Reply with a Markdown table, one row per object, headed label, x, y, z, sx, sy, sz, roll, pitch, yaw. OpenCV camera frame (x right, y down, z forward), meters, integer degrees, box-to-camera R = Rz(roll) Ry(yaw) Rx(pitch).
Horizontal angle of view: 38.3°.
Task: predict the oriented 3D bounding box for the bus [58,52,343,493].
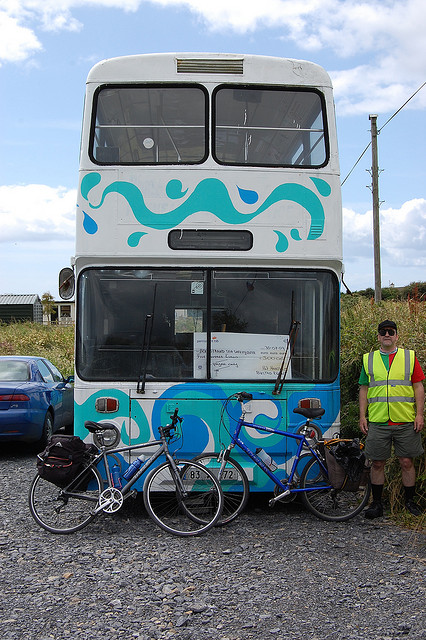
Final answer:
| label | x | y | z | sx | sy | sz | roll | pitch | yaw |
| --- | --- | --- | --- | --- | --- | --- | --- | --- | --- |
| bus | 0.263 | -0.944 | 8.097 | 2.638 | 4.829 | 5.099 | 2 | 13 | 8 |

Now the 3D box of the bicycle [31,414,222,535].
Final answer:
| label | x | y | z | sx | sy | sz | roll | pitch | yaw |
| --- | --- | --- | --- | --- | --- | --- | --- | --- | --- |
| bicycle | -0.751 | 1.336 | 5.315 | 1.663 | 1.082 | 0.811 | 3 | -2 | -6 |

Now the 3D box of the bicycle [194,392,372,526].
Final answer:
| label | x | y | z | sx | sy | sz | roll | pitch | yaw |
| --- | --- | --- | --- | --- | --- | --- | --- | --- | --- |
| bicycle | 0.560 | 1.289 | 5.641 | 1.773 | 1.177 | 0.824 | -1 | 3 | -1 |

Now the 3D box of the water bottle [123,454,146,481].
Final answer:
| label | x | y | z | sx | sy | sz | roll | pitch | yaw |
| --- | --- | --- | --- | --- | --- | --- | --- | --- | --- |
| water bottle | -0.673 | 1.293 | 5.376 | 0.236 | 0.198 | 0.101 | 4 | -5 | -45 |

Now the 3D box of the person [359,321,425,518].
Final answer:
| label | x | y | z | sx | sy | sz | roll | pitch | yaw |
| --- | --- | --- | --- | --- | --- | --- | --- | --- | --- |
| person | 1.654 | 1.041 | 5.719 | 0.580 | 1.626 | 0.359 | -1 | -4 | 17 |

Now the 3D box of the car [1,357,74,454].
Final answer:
| label | x | y | z | sx | sy | sz | roll | pitch | yaw |
| --- | --- | --- | --- | --- | --- | --- | --- | --- | --- |
| car | -2.920 | 1.273 | 9.916 | 1.026 | 0.920 | 2.294 | -1 | -1 | 0 |

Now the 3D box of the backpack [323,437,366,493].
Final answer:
| label | x | y | z | sx | sy | sz | roll | pitch | yaw |
| --- | --- | --- | --- | --- | --- | --- | --- | --- | --- |
| backpack | 1.216 | 1.330 | 5.646 | 0.386 | 0.485 | 0.286 | 5 | -11 | -30 |

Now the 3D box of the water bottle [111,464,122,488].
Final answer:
| label | x | y | z | sx | sy | sz | roll | pitch | yaw |
| --- | --- | --- | --- | --- | --- | --- | --- | --- | --- |
| water bottle | -0.850 | 1.373 | 5.363 | 0.066 | 0.170 | 0.082 | 1 | -4 | -10 |

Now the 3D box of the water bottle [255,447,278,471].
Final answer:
| label | x | y | z | sx | sy | sz | roll | pitch | yaw |
| --- | --- | --- | --- | --- | --- | --- | --- | --- | --- |
| water bottle | 0.493 | 1.264 | 5.554 | 0.225 | 0.207 | 0.083 | 3 | -4 | -32 |

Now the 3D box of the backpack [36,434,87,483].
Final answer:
| label | x | y | z | sx | sy | sz | roll | pitch | yaw |
| --- | --- | --- | --- | --- | --- | --- | --- | --- | --- |
| backpack | -1.338 | 1.206 | 5.358 | 0.353 | 0.463 | 0.258 | 8 | -1 | 17 |
